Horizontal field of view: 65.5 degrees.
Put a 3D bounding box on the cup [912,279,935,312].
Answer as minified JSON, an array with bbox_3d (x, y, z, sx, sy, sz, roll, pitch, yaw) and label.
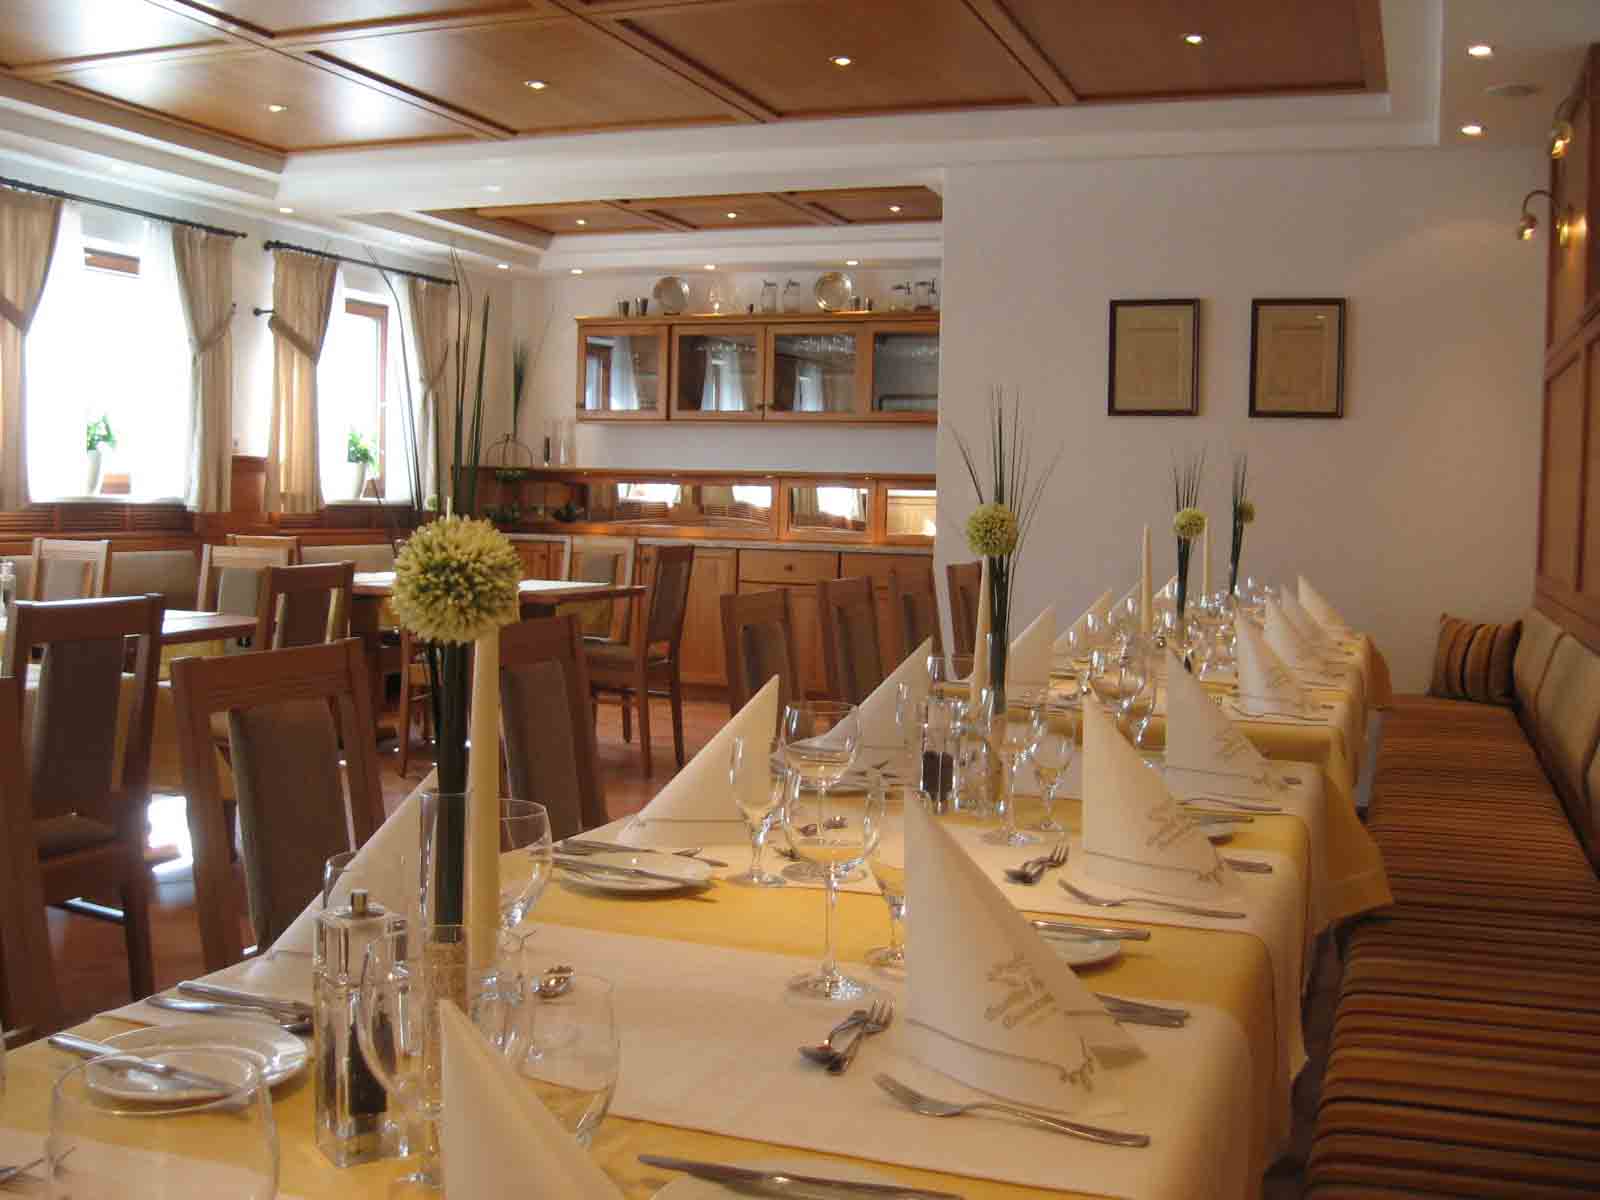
[{"bbox_3d":[0.838,-2.034,8.292,0.158,0.247,0.358,1,7,5],"label":"cup"}]

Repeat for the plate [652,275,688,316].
[{"bbox_3d":[-0.936,-2.175,8.974,0.263,0.290,0.262,5,5,15],"label":"plate"}]

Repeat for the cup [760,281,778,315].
[{"bbox_3d":[-0.209,-2.122,8.702,0.143,0.245,0.258,0,7,-5],"label":"cup"}]

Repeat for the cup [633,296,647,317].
[{"bbox_3d":[-1.155,-2.125,8.994,0.092,0.162,0.108,0,7,-2],"label":"cup"}]

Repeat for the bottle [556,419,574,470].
[{"bbox_3d":[-1.791,-1.192,9.477,0.139,0.345,0.064,0,6,-2],"label":"bottle"}]

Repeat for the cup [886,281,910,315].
[{"bbox_3d":[0.679,-2.026,8.346,0.146,0.205,0.330,1,7,3],"label":"cup"}]

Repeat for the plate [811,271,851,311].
[{"bbox_3d":[0.240,-2.141,8.516,0.257,0.287,0.106,7,15,-7],"label":"plate"}]

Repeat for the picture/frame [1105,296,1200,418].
[{"bbox_3d":[1.749,-1.197,6.046,0.515,0.718,0.049,2,4,17],"label":"picture/frame"}]

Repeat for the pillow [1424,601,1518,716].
[{"bbox_3d":[2.996,0.266,5.475,0.146,0.406,0.368,24,-19,-29],"label":"pillow"}]

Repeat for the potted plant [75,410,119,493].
[{"bbox_3d":[-3.985,-0.825,7.024,0.166,0.464,0.326,-3,7,-29],"label":"potted plant"}]

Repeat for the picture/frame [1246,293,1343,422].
[{"bbox_3d":[2.367,-1.157,5.853,0.543,0.831,0.059,0,5,9],"label":"picture/frame"}]
